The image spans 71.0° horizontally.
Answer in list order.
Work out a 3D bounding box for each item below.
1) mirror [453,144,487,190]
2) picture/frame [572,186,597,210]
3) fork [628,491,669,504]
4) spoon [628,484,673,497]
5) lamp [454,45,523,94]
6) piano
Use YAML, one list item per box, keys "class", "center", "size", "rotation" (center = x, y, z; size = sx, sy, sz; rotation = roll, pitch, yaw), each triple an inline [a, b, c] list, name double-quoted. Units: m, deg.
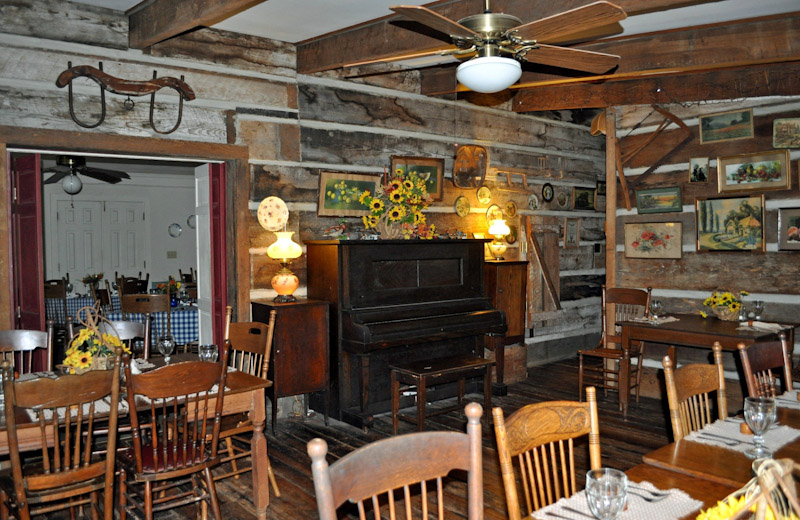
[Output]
- class: "mirror"
  center: [0.894, -1.255, 7.518]
  size: [0.718, 0.587, 0.098]
  rotation: [9, -11, -42]
- class: "picture/frame"
  center: [2.900, -1.004, 8.954]
  size: [0.523, 0.373, 0.251]
  rotation: [-1, 0, -36]
- class: "fork"
  center: [1.168, 1.125, 2.678]
  size: [0.180, 0.019, 0.057]
  rotation: [-3, 1, 10]
- class: "spoon"
  center: [1.199, 1.116, 2.708]
  size: [0.060, 0.014, 0.192]
  rotation: [-8, 2, -44]
- class: "lamp"
  center: [0.617, -1.341, 3.927]
  size: [0.487, 0.228, 0.472]
  rotation: [-19, 23, -40]
- class: "piano"
  center: [0.084, 0.710, 6.580]
  size: [2.378, 1.789, 1.406]
  rotation: [-2, 3, -41]
